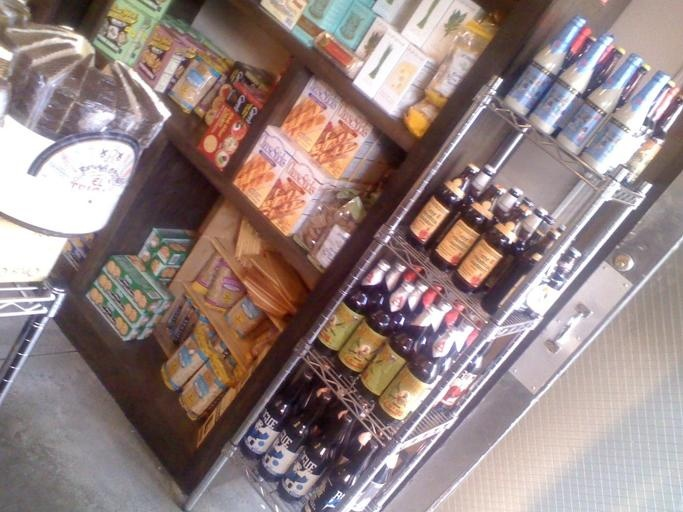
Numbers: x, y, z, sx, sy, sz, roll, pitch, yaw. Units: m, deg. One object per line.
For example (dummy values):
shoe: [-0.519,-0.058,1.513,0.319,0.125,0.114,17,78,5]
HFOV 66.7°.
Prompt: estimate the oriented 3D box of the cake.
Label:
cake: [-0.702,-0.445,1.398,0.399,0.160,0.319,47,22,27]
